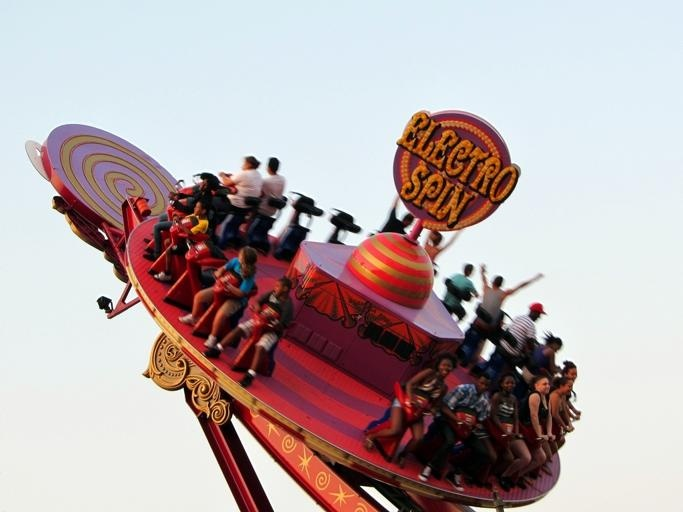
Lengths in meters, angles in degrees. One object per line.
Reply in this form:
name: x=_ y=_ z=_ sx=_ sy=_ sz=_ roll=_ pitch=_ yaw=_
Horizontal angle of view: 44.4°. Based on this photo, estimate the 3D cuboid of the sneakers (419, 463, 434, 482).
sneakers: x=1.587 y=4.113 z=15.862 sx=0.200 sy=0.323 sz=0.100 roll=24 pitch=-33 yaw=-14

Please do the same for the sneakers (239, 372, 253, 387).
sneakers: x=-1.784 y=2.344 z=15.742 sx=0.246 sy=0.288 sz=0.133 roll=23 pitch=-33 yaw=-13

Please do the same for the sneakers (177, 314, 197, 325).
sneakers: x=-3.047 y=1.246 z=16.441 sx=0.322 sy=0.162 sz=0.203 roll=28 pitch=-49 yaw=2

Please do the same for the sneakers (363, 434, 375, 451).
sneakers: x=0.481 y=3.549 z=15.864 sx=0.247 sy=0.269 sz=0.231 roll=0 pitch=-6 yaw=-34

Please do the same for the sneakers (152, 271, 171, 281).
sneakers: x=-3.757 y=0.437 z=17.446 sx=0.330 sy=0.154 sz=0.141 roll=19 pitch=-64 yaw=-16
